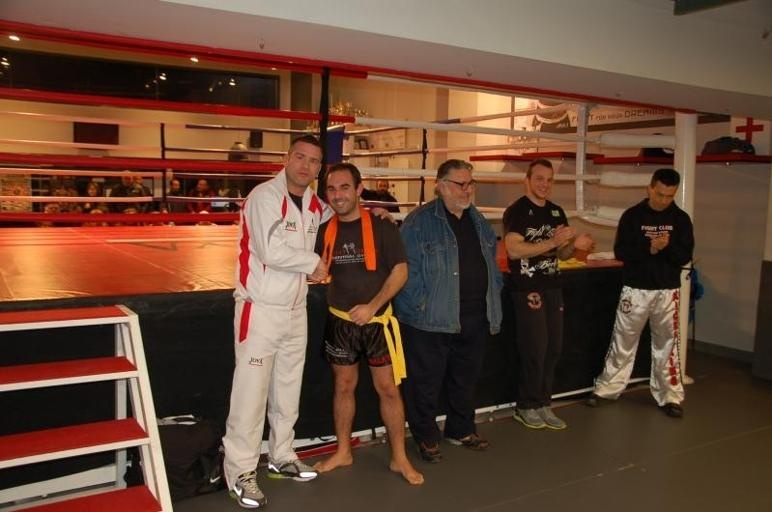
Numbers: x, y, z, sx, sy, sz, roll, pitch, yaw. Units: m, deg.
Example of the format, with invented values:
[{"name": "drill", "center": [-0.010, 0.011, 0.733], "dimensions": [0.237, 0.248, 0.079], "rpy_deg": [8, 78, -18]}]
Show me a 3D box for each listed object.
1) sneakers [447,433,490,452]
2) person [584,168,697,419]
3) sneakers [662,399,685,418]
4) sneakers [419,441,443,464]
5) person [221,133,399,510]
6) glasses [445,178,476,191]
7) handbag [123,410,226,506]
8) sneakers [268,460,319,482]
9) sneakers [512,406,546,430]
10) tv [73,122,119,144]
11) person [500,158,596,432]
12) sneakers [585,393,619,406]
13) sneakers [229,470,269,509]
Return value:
[{"name": "sneakers", "center": [0.644, 1.428, 3.996], "dimensions": [0.290, 0.115, 0.116], "rpy_deg": [-3, -2, 22]}, {"name": "person", "center": [2.362, 0.326, 4.557], "dimensions": [0.743, 2.131, 0.578], "rpy_deg": [8, 15, 25]}, {"name": "sneakers", "center": [2.556, 1.354, 4.585], "dimensions": [0.189, 0.095, 0.187], "rpy_deg": [7, 13, 22]}, {"name": "sneakers", "center": [0.339, 1.445, 3.783], "dimensions": [0.108, 0.083, 0.195], "rpy_deg": [1, -7, -15]}, {"name": "person", "center": [-0.711, 0.405, 3.394], "dimensions": [0.790, 2.340, 0.552], "rpy_deg": [-7, 16, -34]}, {"name": "glasses", "center": [0.544, -0.512, 3.734], "dimensions": [0.211, 0.068, 0.072], "rpy_deg": [1, 13, -3]}, {"name": "handbag", "center": [-1.285, 1.322, 3.432], "dimensions": [0.377, 0.485, 0.233], "rpy_deg": [-4, 14, -24]}, {"name": "sneakers", "center": [-0.639, 1.480, 3.559], "dimensions": [0.340, 0.135, 0.135], "rpy_deg": [1, -3, 4]}, {"name": "sneakers", "center": [1.210, 1.365, 4.372], "dimensions": [0.110, 0.106, 0.268], "rpy_deg": [-11, 9, -40]}, {"name": "tv", "center": [-5.255, -2.214, 9.398], "dimensions": [0.766, 0.323, 0.200], "rpy_deg": [-4, 14, -26]}, {"name": "person", "center": [1.257, 0.337, 4.216], "dimensions": [0.665, 2.184, 0.628], "rpy_deg": [4, 13, 8]}, {"name": "sneakers", "center": [1.993, 1.323, 4.774], "dimensions": [0.337, 0.116, 0.107], "rpy_deg": [2, -8, -21]}, {"name": "sneakers", "center": [-0.884, 1.509, 3.366], "dimensions": [0.139, 0.134, 0.319], "rpy_deg": [2, -1, -41]}]
